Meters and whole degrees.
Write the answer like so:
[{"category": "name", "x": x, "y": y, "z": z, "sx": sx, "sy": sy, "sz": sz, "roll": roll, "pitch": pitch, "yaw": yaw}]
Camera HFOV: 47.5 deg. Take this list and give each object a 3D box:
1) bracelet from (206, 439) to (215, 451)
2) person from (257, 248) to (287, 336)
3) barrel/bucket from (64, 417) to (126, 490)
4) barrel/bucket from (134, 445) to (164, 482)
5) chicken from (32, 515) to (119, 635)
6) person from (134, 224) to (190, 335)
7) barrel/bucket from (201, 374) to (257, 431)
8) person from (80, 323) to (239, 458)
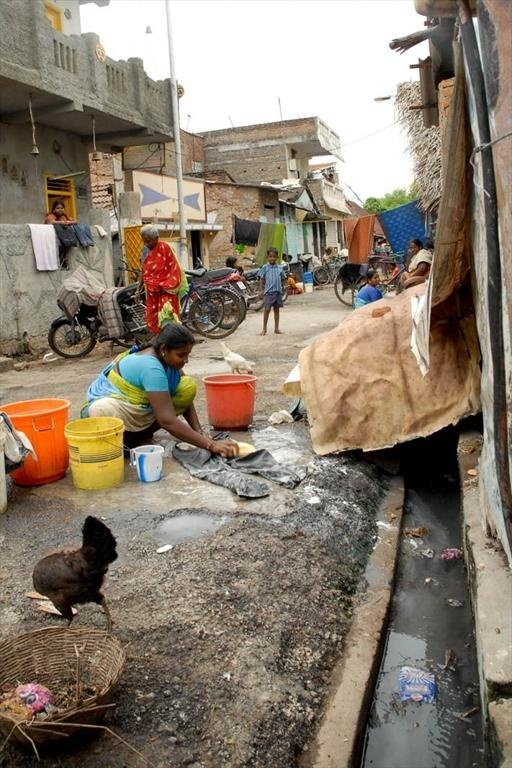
[{"category": "bracelet", "x": -0.273, "y": 0.377, "z": 3.536, "sx": 0.020, "sy": 0.054, "sz": 0.040, "roll": -13, "pitch": 2, "yaw": 15}, {"category": "person", "x": 0.283, "y": -1.611, "z": 10.118, "sx": 0.524, "sy": 1.424, "sz": 0.381, "roll": -6, "pitch": 12, "yaw": -26}, {"category": "barrel/bucket", "x": -0.903, "y": 0.407, "z": 3.323, "sx": 0.315, "sy": 0.372, "sz": 0.378, "roll": -7, "pitch": 13, "yaw": -16}, {"category": "barrel/bucket", "x": -0.617, "y": 0.467, "z": 3.448, "sx": 0.209, "sy": 0.158, "sz": 0.174, "roll": 1, "pitch": 7, "yaw": 20}, {"category": "chicken", "x": -0.577, "y": 0.599, "z": 2.038, "sx": 0.329, "sy": 0.384, "sz": 0.242, "roll": 0, "pitch": 9, "yaw": 14}, {"category": "person", "x": -1.108, "y": -1.175, "z": 7.110, "sx": 0.551, "sy": 1.414, "sz": 0.438, "roll": 11, "pitch": 20, "yaw": 34}, {"category": "barrel/bucket", "x": -0.213, "y": 0.120, "z": 4.537, "sx": 0.451, "sy": 0.413, "sz": 0.420, "roll": -4, "pitch": 8, "yaw": 1}, {"category": "person", "x": -0.644, "y": -0.003, "z": 3.783, "sx": 1.010, "sy": 0.807, "sz": 0.760, "roll": 4, "pitch": 16, "yaw": 6}]
